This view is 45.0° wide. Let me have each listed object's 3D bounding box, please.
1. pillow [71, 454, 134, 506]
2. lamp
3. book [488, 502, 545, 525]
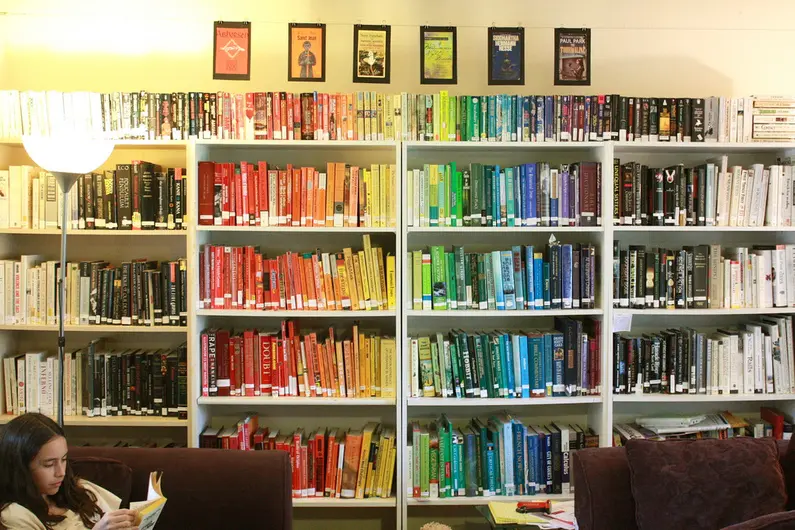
[{"bbox_3d":[-1.657,1.246,5.460,0.299,0.280,0.087,6,-24,-13],"label":"pillow"},{"bbox_3d":[-2.038,0.073,6.017,0.524,1.888,0.548,-1,-1,-17],"label":"lamp"},{"bbox_3d":[0.729,1.503,5.817,0.326,0.111,0.167,-1,-1,2],"label":"book"}]
